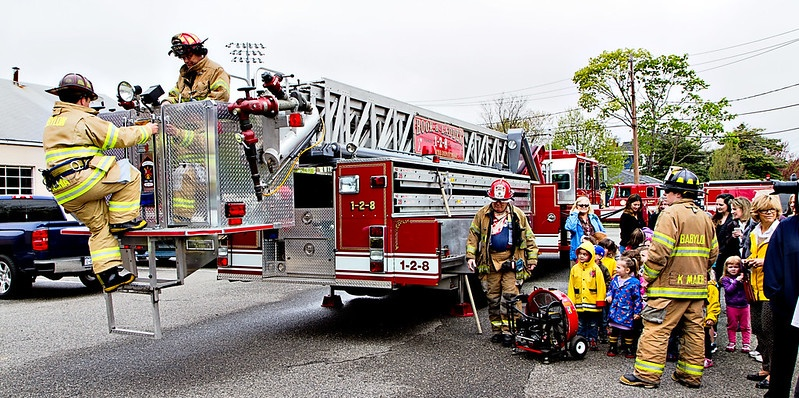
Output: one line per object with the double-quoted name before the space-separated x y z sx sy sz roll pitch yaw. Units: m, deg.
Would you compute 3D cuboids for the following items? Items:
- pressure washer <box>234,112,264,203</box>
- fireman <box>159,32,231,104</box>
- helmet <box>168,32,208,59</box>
"pressure washer" -2.853 -0.809 11.471 0.388 1.794 0.398 -6 16 -19
"fireman" -4.098 -2.448 11.954 1.406 1.559 1.099 -2 3 19
"helmet" -4.098 -2.972 11.608 0.604 0.446 0.368 -5 15 -18
